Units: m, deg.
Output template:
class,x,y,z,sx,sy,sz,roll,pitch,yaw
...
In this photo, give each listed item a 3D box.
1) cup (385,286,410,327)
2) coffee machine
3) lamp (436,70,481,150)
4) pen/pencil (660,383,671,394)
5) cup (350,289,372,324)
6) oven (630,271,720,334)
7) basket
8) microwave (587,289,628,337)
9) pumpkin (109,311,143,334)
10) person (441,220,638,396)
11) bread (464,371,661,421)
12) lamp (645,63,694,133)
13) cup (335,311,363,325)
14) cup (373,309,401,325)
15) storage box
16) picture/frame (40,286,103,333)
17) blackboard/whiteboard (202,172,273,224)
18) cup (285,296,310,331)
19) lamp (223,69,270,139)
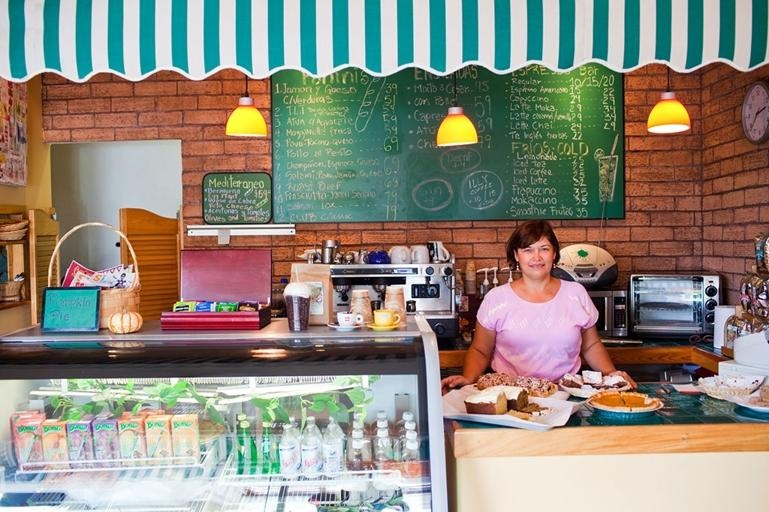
class,x,y,z,sx,sy,sz,roll,pitch,yaw
cup,0.050,0.238,2.881,0.129,0.172,0.124,1,8,0
coffee machine,0.025,0.313,4.471,0.985,0.586,0.523,1,6,-4
lamp,0.557,-1.181,4.546,0.351,0.730,0.893,-2,1,9
pen/pencil,1.417,0.673,2.924,0.026,0.024,0.096,-3,-3,12
cup,-0.113,0.243,2.819,0.121,0.152,0.115,0,9,0
oven,2.212,0.392,4.555,0.694,0.474,0.406,0,-2,1
basket,-1.348,0.086,2.713,0.368,0.465,0.367,13,14,31
microwave,1.778,0.472,4.643,0.399,0.353,0.286,-6,-14,41
pumpkin,-1.169,0.293,2.628,0.110,0.096,0.109,-1,-2,32
person,0.817,0.308,3.341,1.110,0.923,0.594,-3,11,-7
bread,0.783,0.652,2.703,0.881,0.131,0.488,-2,1,-5
lamp,1.975,-1.128,4.029,0.292,0.470,0.281,-3,8,-18
cup,-0.151,0.282,2.648,0.085,0.041,0.063,1,-2,-6
cup,0.010,0.276,2.625,0.091,0.053,0.068,2,-2,1
storage box,-0.758,0.152,2.644,0.436,0.313,0.324,1,9,-8
picture/frame,-1.406,0.247,2.620,0.214,0.168,0.015,-1,-17,-5
blackboard/whiteboard,-1.252,-0.519,5.043,0.473,0.332,0.020,0,2,1
cup,-0.393,0.263,2.662,0.143,0.145,0.139,-4,-14,-1
lamp,-1.011,-1.167,4.270,0.314,0.515,0.294,-9,20,-31
